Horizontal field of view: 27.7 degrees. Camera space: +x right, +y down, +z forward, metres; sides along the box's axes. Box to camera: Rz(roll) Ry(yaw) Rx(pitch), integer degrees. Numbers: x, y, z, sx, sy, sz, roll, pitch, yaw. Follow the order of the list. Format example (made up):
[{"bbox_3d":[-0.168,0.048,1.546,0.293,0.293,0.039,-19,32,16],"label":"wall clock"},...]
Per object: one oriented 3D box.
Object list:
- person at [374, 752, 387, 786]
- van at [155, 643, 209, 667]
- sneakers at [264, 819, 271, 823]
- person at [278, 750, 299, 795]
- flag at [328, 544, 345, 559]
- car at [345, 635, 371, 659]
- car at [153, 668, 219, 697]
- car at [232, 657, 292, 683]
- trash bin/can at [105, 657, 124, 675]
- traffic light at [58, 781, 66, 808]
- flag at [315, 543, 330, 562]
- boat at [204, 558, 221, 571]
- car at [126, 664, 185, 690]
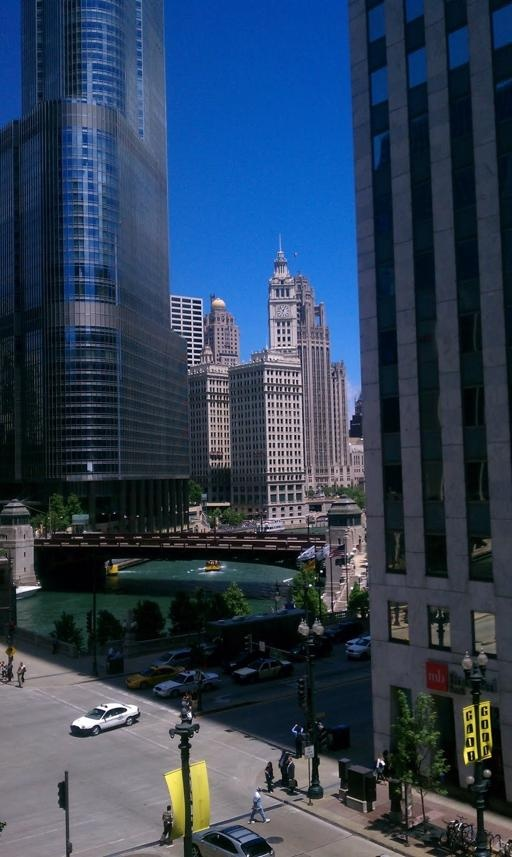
[{"bbox_3d":[4.616,12.654,38.730,0.470,1.102,0.790,-2,-3,8],"label":"person"},{"bbox_3d":[-4.034,12.938,58.185,3.044,1.286,1.501,4,-8,-24],"label":"van"},{"bbox_3d":[0.339,13.185,35.025,0.138,0.063,0.107,-7,-9,3],"label":"sneakers"},{"bbox_3d":[1.333,12.704,38.582,0.632,1.707,1.077,-6,-8,16],"label":"person"},{"bbox_3d":[7.467,11.661,98.137,1.147,0.186,1.363,-11,-34,0],"label":"flag"},{"bbox_3d":[6.478,13.591,64.428,1.340,1.395,3.387,-8,-17,25],"label":"car"},{"bbox_3d":[-3.648,13.150,53.432,3.453,1.021,1.902,0,-4,-34],"label":"car"},{"bbox_3d":[0.258,13.193,56.754,3.543,1.086,0.964,0,-4,-38],"label":"car"},{"bbox_3d":[-8.041,13.348,58.877,0.631,1.360,1.254,-3,-5,24],"label":"trash bin/can"},{"bbox_3d":[-5.513,10.316,29.457,0.153,0.892,0.809,-1,-3,-17],"label":"traffic light"},{"bbox_3d":[6.221,11.806,97.482,0.529,1.978,1.315,12,0,-9],"label":"flag"},{"bbox_3d":[-6.803,20.475,155.253,2.160,1.571,2.831,-2,-3,-4],"label":"boat"},{"bbox_3d":[-5.701,13.236,55.488,2.627,0.985,1.151,4,-11,-44],"label":"car"}]
